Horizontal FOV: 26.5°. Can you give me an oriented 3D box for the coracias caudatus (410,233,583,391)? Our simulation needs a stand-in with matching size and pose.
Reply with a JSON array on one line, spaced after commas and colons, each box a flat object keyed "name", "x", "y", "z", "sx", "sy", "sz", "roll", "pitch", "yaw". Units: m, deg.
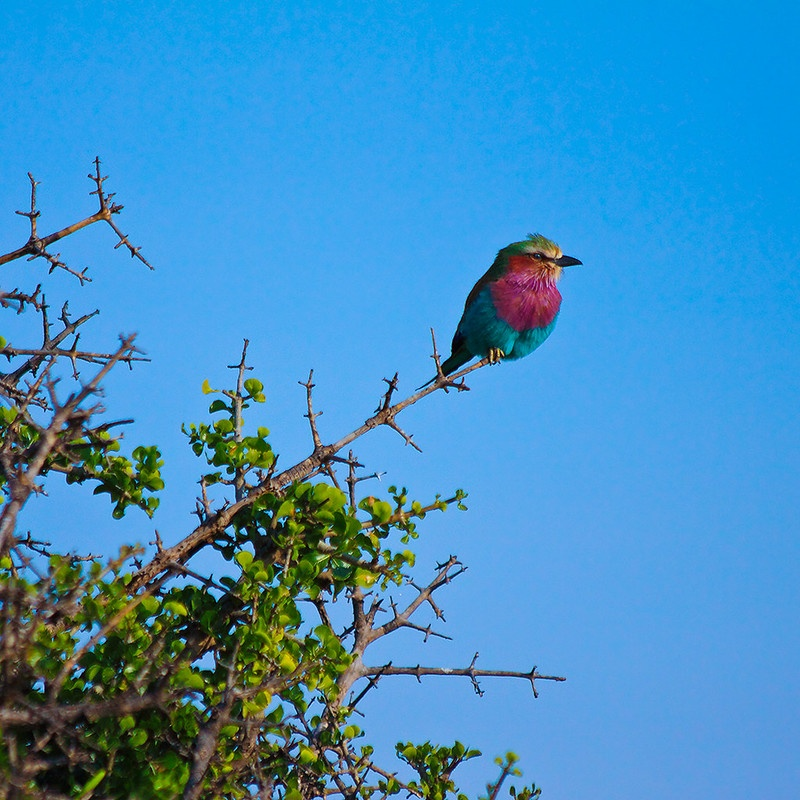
[{"name": "coracias caudatus", "x": 0.702, "y": -0.750, "z": 11.941, "sx": 0.655, "sy": 1.199, "sz": 1.269, "roll": -9, "pitch": -67, "yaw": -46}]
